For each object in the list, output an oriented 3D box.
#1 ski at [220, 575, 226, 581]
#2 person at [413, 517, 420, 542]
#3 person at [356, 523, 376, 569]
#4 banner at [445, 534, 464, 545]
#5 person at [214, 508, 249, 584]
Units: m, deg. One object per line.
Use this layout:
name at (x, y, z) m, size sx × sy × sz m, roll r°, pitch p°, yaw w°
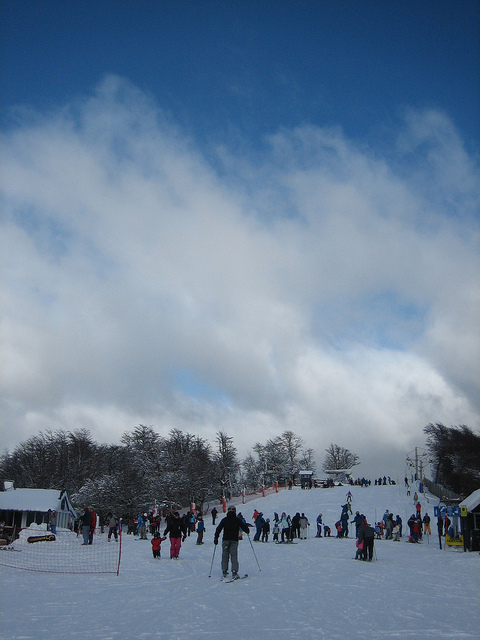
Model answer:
ski at (-0.454, 6.559, 14.381) m, size 0.024 × 0.102 × 0.105 m, roll 37°, pitch -58°, yaw -5°
person at (8.812, 10.540, 28.391) m, size 0.298 × 1.123 × 0.981 m, roll -3°, pitch -17°, yaw 18°
person at (4.320, 7.685, 19.516) m, size 0.672 × 1.182 × 2.492 m, roll -2°, pitch -18°, yaw 12°
banner at (9.727, 9.954, 25.607) m, size 0.841 × 0.418 × 0.728 m, roll -9°, pitch -20°, yaw 31°
person at (-0.266, 5.823, 14.786) m, size 0.848 × 1.694 × 2.212 m, roll 2°, pitch -17°, yaw -2°
